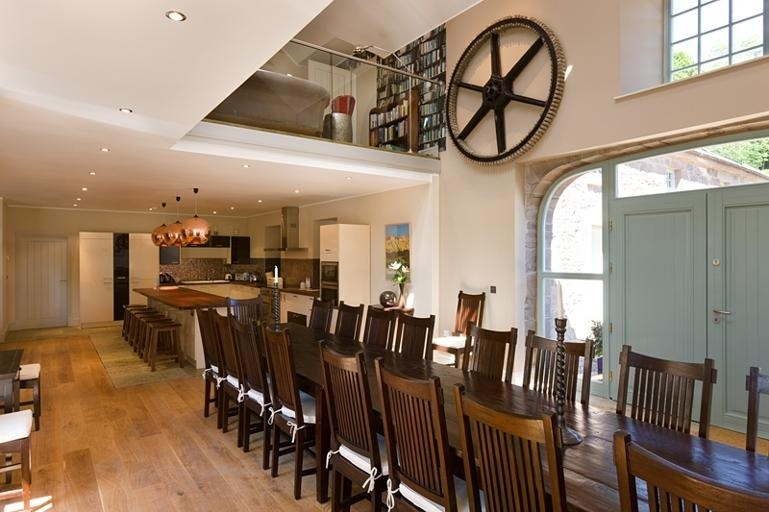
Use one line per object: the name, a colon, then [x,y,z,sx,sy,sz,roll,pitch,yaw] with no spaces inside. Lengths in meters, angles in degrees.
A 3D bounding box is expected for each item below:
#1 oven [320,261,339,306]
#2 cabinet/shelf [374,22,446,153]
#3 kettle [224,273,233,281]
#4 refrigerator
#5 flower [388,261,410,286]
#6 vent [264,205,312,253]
oven: [-0.878,0.497,9.520,0.511,0.744,0.338,2,2,44]
cabinet/shelf: [0.374,-2.717,8.824,0.568,2.062,1.568,0,1,-33]
kettle: [-4.000,0.518,13.584,0.156,0.180,0.252,0,-1,37]
refrigerator: [-5.829,0.464,11.456,2.009,2.856,0.746,0,3,-27]
flower: [0.221,0.268,8.794,0.370,0.394,0.379,6,5,24]
vent: [-2.202,-0.473,12.023,0.580,0.823,2.055,1,-4,-22]
